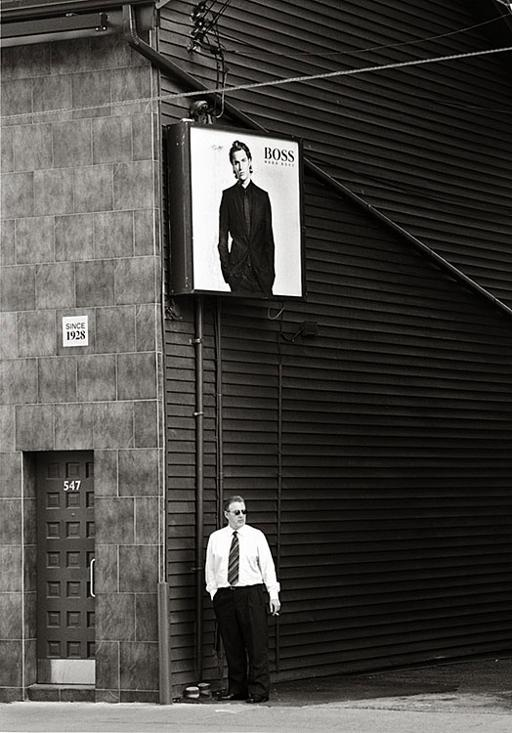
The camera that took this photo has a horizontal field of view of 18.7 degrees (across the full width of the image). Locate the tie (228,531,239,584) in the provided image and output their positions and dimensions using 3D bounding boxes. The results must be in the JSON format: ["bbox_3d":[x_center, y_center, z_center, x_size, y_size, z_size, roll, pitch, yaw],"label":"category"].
[{"bbox_3d":[-0.185,1.659,13.373,0.109,0.442,0.064,-1,-12,-1],"label":"tie"}]

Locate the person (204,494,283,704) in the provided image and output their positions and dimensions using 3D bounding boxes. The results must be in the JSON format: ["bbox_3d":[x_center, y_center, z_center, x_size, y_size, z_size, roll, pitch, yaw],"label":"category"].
[{"bbox_3d":[-0.119,2.021,13.403,0.625,1.758,0.420,0,-12,-2],"label":"person"}]
